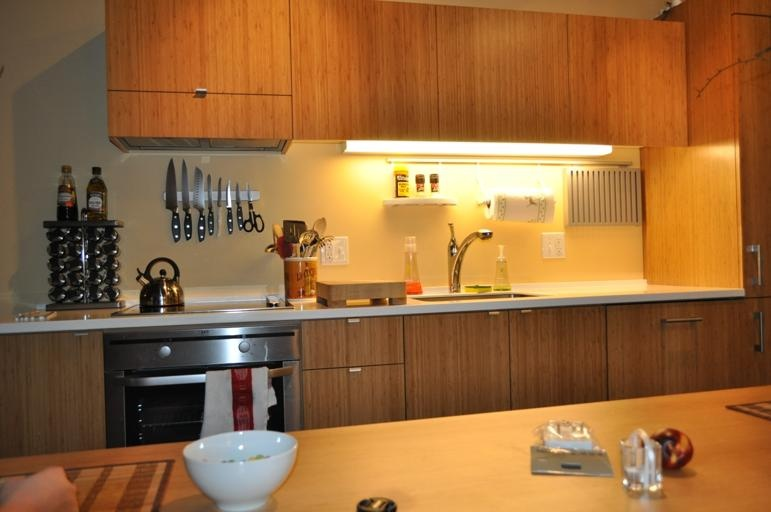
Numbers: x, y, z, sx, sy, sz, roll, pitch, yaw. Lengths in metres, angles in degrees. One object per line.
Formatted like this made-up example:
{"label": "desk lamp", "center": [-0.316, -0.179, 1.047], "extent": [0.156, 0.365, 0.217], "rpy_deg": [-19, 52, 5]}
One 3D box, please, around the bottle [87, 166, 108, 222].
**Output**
{"label": "bottle", "center": [-1.495, -0.322, 3.521], "extent": [0.098, 0.267, 0.168], "rpy_deg": [-5, 9, -23]}

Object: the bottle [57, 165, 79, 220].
{"label": "bottle", "center": [-1.641, -0.324, 3.496], "extent": [0.094, 0.274, 0.146], "rpy_deg": [-5, 9, -22]}

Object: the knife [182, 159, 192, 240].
{"label": "knife", "center": [-1.068, -0.303, 3.686], "extent": [0.051, 0.443, 0.023], "rpy_deg": [-3, 12, -7]}

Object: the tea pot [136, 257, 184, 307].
{"label": "tea pot", "center": [-1.134, 0.143, 3.431], "extent": [0.232, 0.261, 0.192], "rpy_deg": [1, 1, -35]}

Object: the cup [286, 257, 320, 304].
{"label": "cup", "center": [-0.445, 0.122, 3.581], "extent": [0.170, 0.218, 0.213], "rpy_deg": [-3, 9, -9]}

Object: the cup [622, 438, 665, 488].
{"label": "cup", "center": [0.700, 0.561, 1.858], "extent": [0.109, 0.151, 0.064], "rpy_deg": [1, 9, 17]}
